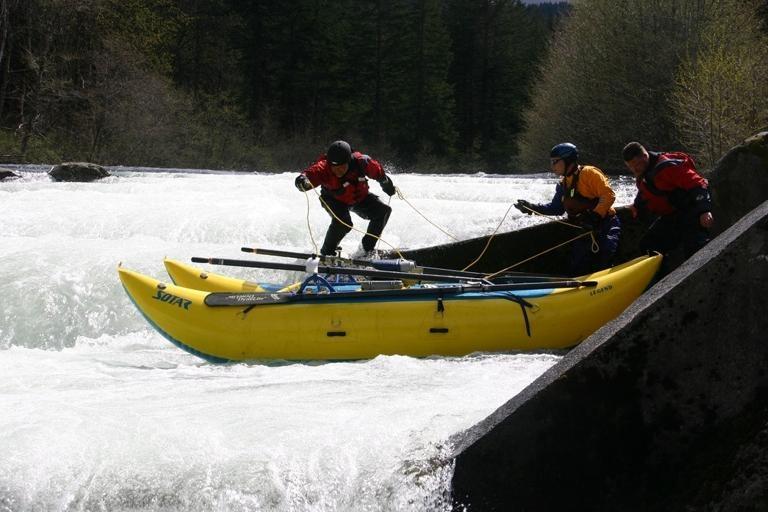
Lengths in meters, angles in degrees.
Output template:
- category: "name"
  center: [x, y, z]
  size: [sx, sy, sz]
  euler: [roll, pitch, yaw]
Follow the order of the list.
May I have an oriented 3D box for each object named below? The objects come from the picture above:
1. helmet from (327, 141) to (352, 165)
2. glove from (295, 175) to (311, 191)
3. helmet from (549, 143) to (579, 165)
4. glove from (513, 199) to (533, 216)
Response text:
- category: "helmet"
  center: [-0.915, -2.057, 17.435]
  size: [0.517, 0.444, 0.447]
  euler: [1, 14, -4]
- category: "glove"
  center: [-1.640, -1.449, 17.398]
  size: [0.269, 0.148, 0.373]
  euler: [-3, -30, 37]
- category: "helmet"
  center: [3.498, -1.977, 16.904]
  size: [0.479, 0.342, 0.357]
  euler: [18, -1, 10]
- category: "glove"
  center: [2.772, -1.008, 17.466]
  size: [0.355, 0.170, 0.482]
  euler: [24, 9, -6]
